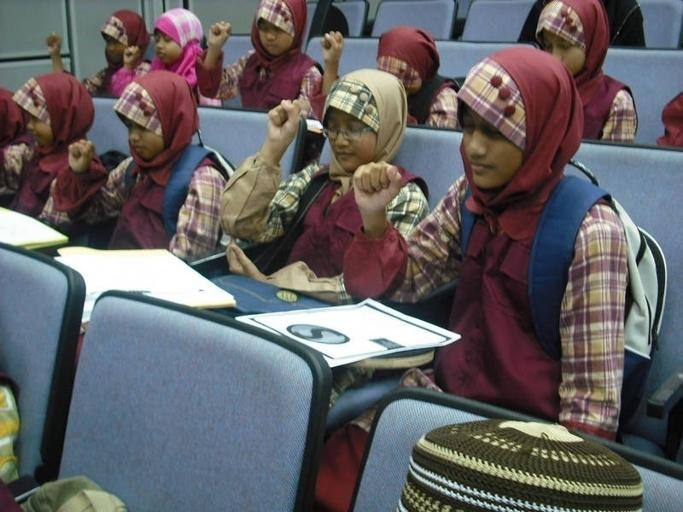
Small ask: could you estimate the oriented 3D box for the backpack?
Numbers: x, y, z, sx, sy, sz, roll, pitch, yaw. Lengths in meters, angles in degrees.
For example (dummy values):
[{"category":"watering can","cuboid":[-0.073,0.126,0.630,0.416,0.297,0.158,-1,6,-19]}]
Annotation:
[{"category":"backpack","cuboid":[0.509,-0.035,1.638,0.390,0.753,0.524,-12,18,-18]}]
